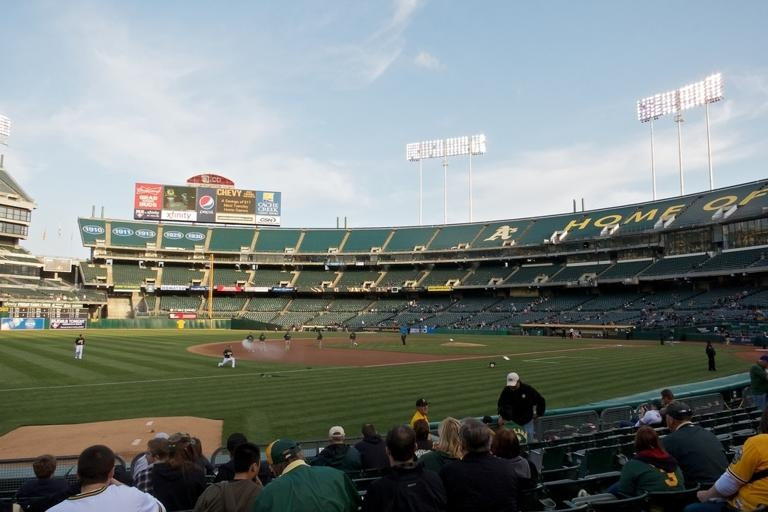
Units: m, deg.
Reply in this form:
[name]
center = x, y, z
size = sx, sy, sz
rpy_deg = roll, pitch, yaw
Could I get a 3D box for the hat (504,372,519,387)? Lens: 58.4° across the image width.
[hat]
center = 4.790, 4.627, 25.733
size = 0.567, 0.344, 0.759
rpy_deg = 0, -1, 19
